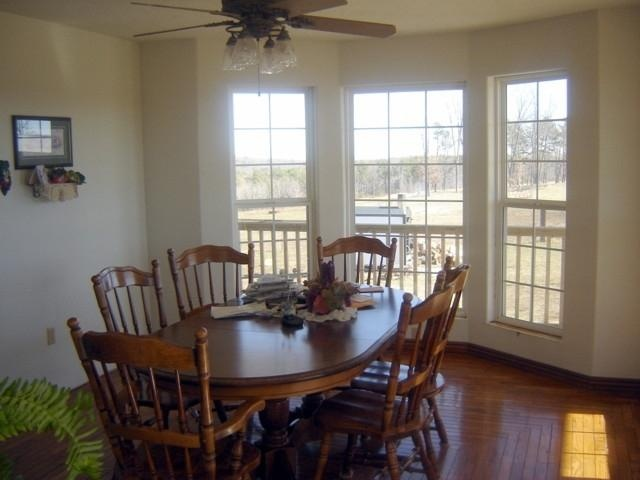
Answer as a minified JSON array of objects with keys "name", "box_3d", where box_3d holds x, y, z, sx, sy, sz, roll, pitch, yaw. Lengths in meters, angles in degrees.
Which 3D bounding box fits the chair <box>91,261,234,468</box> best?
[{"name":"chair","box_3d":[-0.958,0.722,3.470,0.765,1.115,0.681,7,-8,-27]}]

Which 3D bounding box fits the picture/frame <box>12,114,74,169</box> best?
[{"name":"picture/frame","box_3d":[-2.137,-0.760,3.913,0.540,0.394,0.023,3,6,14]}]

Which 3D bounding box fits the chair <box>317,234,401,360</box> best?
[{"name":"chair","box_3d":[0.403,0.242,4.376,0.509,0.946,0.604,1,2,13]}]
